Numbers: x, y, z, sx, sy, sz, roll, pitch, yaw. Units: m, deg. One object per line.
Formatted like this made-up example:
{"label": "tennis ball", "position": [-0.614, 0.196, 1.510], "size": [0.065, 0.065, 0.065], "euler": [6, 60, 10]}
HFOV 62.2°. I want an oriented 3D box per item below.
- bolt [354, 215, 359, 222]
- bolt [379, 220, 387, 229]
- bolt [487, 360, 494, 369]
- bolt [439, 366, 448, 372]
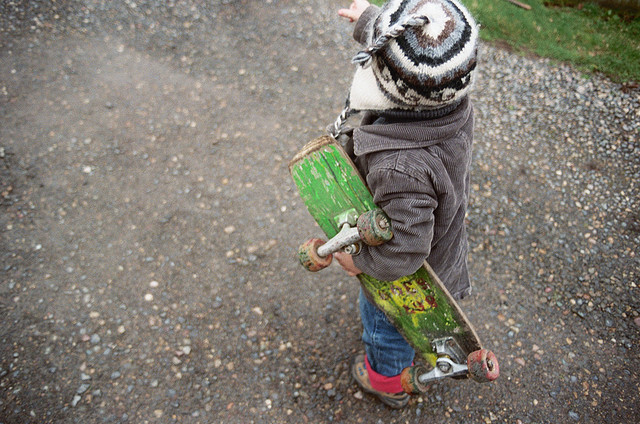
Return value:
{"label": "bolt", "position": [0.249, 0.044, 3.583], "size": [0.010, 0.006, 0.043], "euler": [26, 98, 11]}
{"label": "bolt", "position": [0.400, 0.086, 3.354], "size": [0.051, 0.013, 0.039], "euler": [-2, 86, -49]}
{"label": "bolt", "position": [1.111, 1.001, 3.448], "size": [0.030, 0.018, 0.049], "euler": [-13, 79, -6]}
{"label": "bolt", "position": [0.838, 1.072, 3.591], "size": [0.036, 0.010, 0.041], "euler": [11, 101, 18]}
